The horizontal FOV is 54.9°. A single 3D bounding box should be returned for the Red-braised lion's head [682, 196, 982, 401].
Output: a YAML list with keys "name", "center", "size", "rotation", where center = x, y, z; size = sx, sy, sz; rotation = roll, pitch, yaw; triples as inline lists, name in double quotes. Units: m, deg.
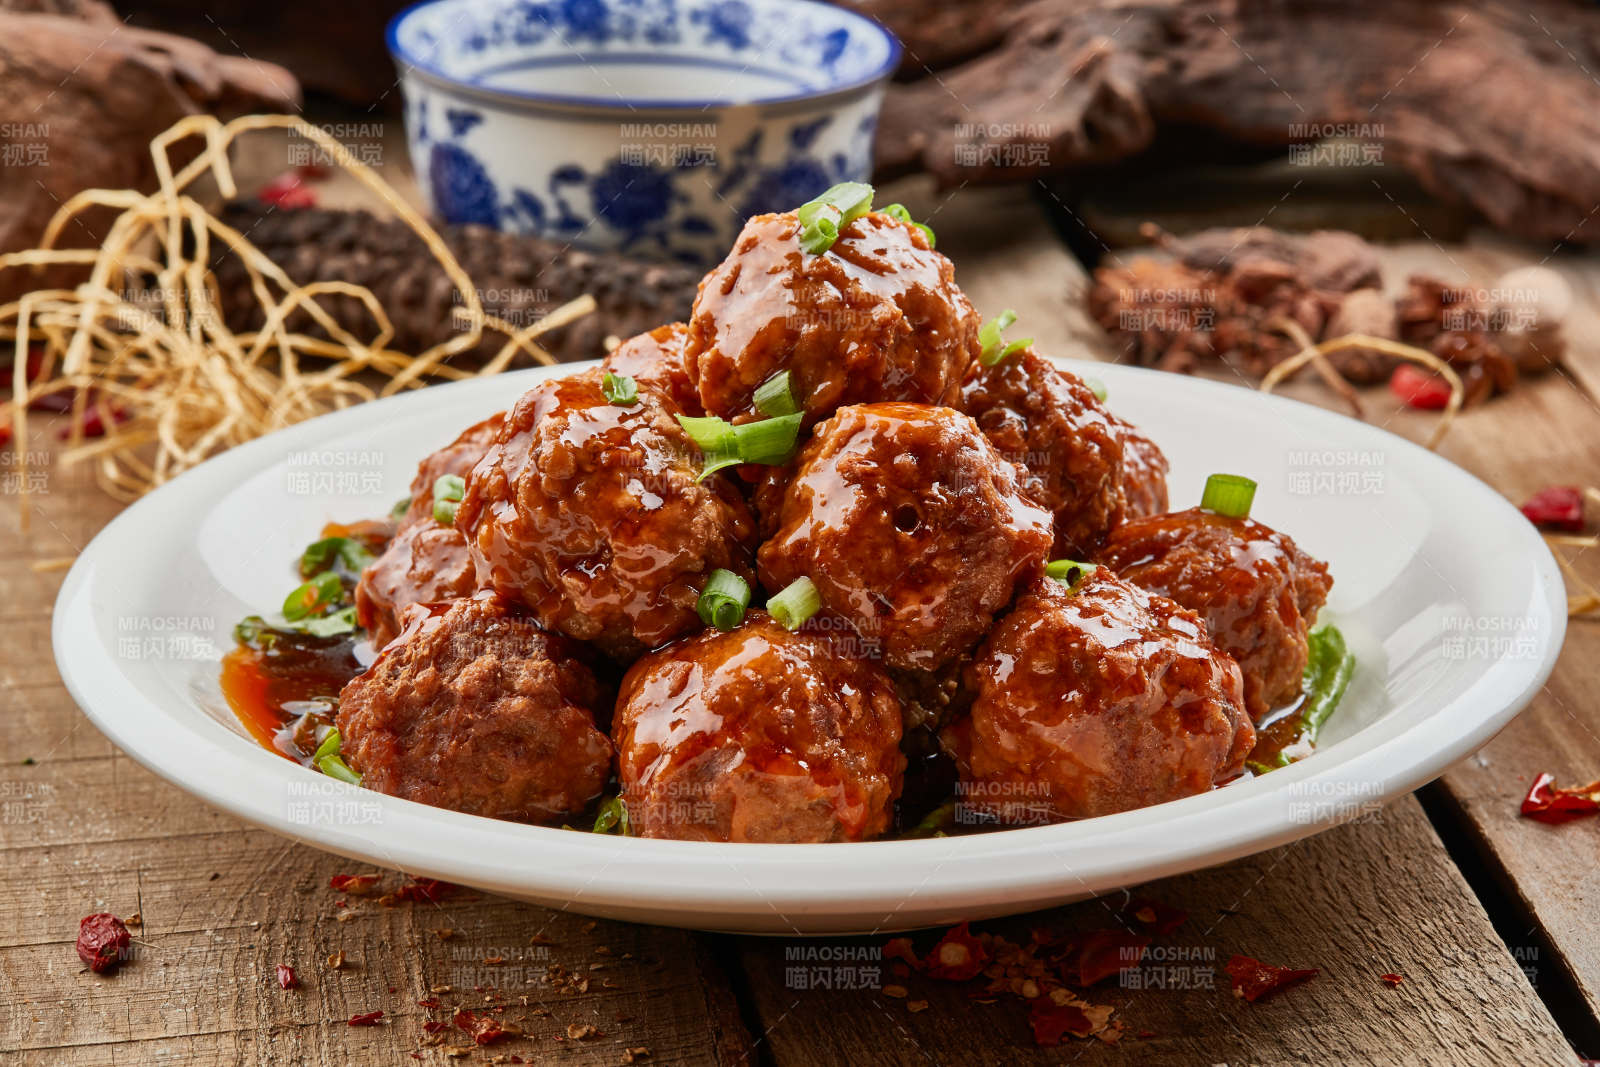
- name: "Red-braised lion's head"
  center: [0.044, -0.408, 2.910]
  size: [0.516, 0.251, 0.347]
  rotation: [-2, 56, -5]

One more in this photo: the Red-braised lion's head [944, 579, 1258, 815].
- name: "Red-braised lion's head"
  center: [0.529, 0.316, 2.862]
  size: [0.492, 0.291, 0.415]
  rotation: [2, 56, -2]

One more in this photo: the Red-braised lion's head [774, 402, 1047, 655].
- name: "Red-braised lion's head"
  center: [0.202, -0.005, 2.825]
  size: [0.482, 0.324, 0.389]
  rotation: [22, 58, 11]

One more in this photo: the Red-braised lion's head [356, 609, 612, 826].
- name: "Red-braised lion's head"
  center: [-0.587, 0.336, 2.862]
  size: [0.449, 0.207, 0.387]
  rotation: [-6, 56, -8]

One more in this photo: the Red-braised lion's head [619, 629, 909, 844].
- name: "Red-braised lion's head"
  center: [-0.062, 0.372, 2.690]
  size: [0.453, 0.421, 0.269]
  rotation: [0, 96, -6]
